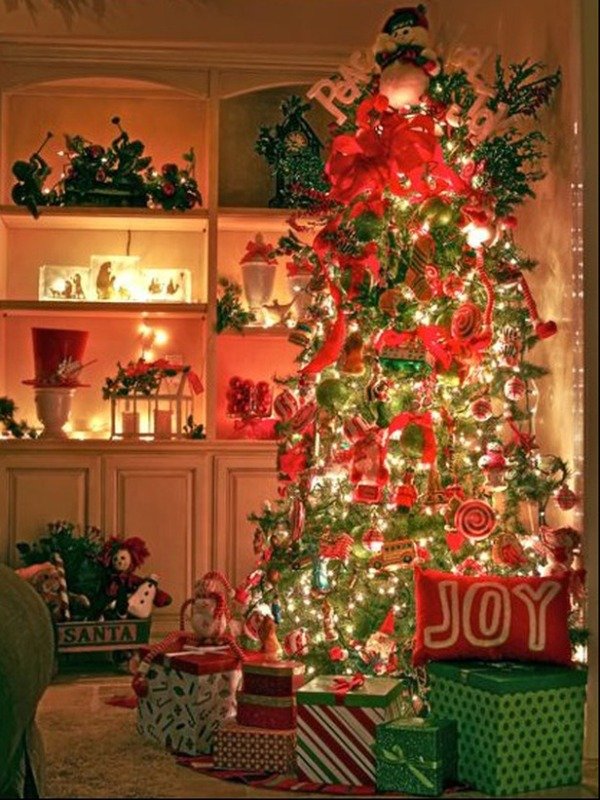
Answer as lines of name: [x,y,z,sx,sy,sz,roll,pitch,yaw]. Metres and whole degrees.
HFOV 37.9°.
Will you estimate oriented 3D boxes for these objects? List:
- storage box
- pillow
storage box: [0.245,0.749,2.021,0.802,0.279,0.228,0,-5,13]
pillow: [0.448,0.518,2.064,0.364,0.184,0.076,1,-9,9]
